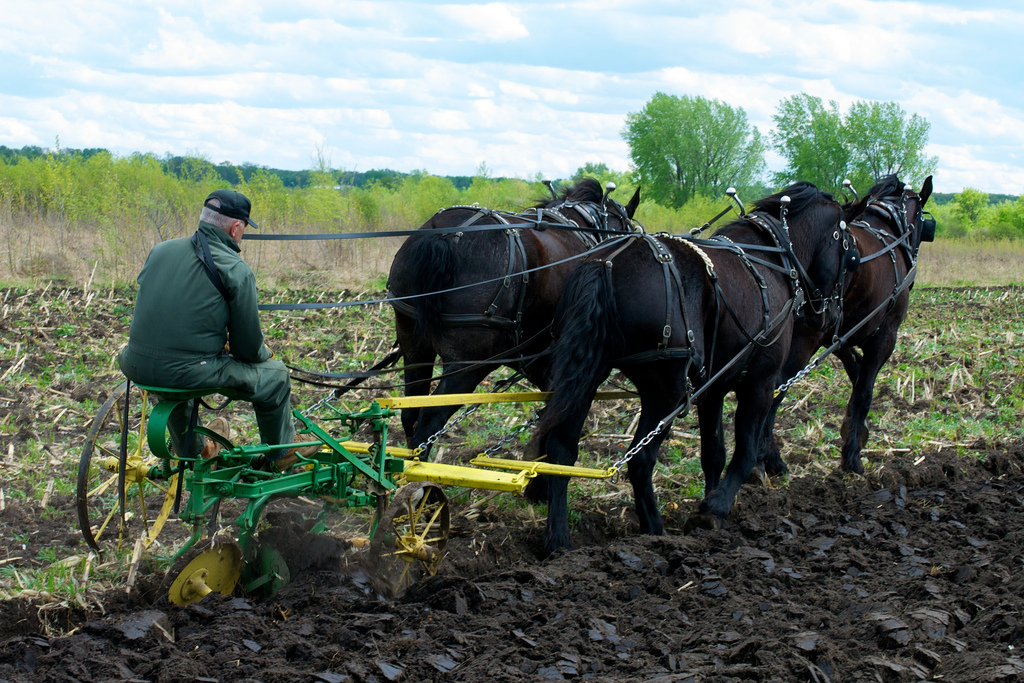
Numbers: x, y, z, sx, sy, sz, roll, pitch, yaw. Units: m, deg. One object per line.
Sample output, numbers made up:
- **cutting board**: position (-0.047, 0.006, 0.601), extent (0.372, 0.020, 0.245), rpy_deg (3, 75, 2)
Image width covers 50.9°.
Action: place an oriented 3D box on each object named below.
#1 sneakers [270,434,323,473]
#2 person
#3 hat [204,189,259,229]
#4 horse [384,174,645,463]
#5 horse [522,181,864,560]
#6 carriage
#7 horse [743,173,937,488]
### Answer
- **sneakers**: position (-1.750, 0.881, 8.977), extent (0.474, 0.190, 0.164), rpy_deg (-34, 65, -17)
- **person**: position (-2.426, -0.175, 8.629), extent (1.334, 2.044, 0.425), rpy_deg (0, 10, -18)
- **hat**: position (-2.301, -1.121, 8.743), extent (0.462, 0.213, 0.301), rpy_deg (18, 4, -43)
- **horse**: position (0.009, -0.362, 11.332), extent (1.225, 2.639, 4.266), rpy_deg (20, 17, 26)
- **horse**: position (1.964, 0.099, 10.750), extent (1.360, 3.286, 5.055), rpy_deg (14, 14, 41)
- **carriage**: position (-0.039, 0.230, 10.265), extent (7.499, 2.556, 3.369), rpy_deg (-6, 14, -33)
- **horse**: position (3.613, -0.352, 12.319), extent (1.123, 3.362, 5.094), rpy_deg (11, 12, 36)
